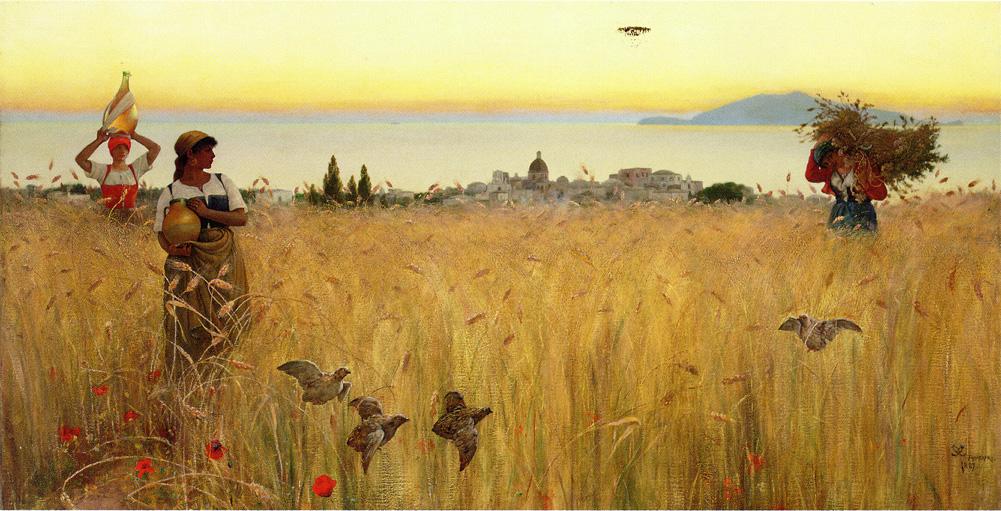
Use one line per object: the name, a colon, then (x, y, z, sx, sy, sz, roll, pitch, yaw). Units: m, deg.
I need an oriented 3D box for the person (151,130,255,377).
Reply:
person: (-3.859, 0.003, 18.028, 1.152, 3.181, 0.543, 0, 4, -14)

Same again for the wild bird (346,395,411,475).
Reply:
wild bird: (-1.607, 2.198, 17.400, 0.812, 0.511, 1.286, -6, 42, -8)

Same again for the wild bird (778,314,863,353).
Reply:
wild bird: (3.911, 1.090, 17.873, 1.118, 0.439, 0.746, -10, 2, -9)

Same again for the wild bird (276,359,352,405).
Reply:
wild bird: (-2.351, 1.616, 17.438, 0.613, 0.300, 0.737, 15, -16, 48)

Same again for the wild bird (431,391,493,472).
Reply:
wild bird: (-0.504, 2.217, 17.446, 0.727, 1.038, 0.470, 1, 3, -4)

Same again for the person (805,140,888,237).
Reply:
person: (4.942, -0.979, 19.987, 1.101, 1.302, 0.482, 2, 3, 13)
